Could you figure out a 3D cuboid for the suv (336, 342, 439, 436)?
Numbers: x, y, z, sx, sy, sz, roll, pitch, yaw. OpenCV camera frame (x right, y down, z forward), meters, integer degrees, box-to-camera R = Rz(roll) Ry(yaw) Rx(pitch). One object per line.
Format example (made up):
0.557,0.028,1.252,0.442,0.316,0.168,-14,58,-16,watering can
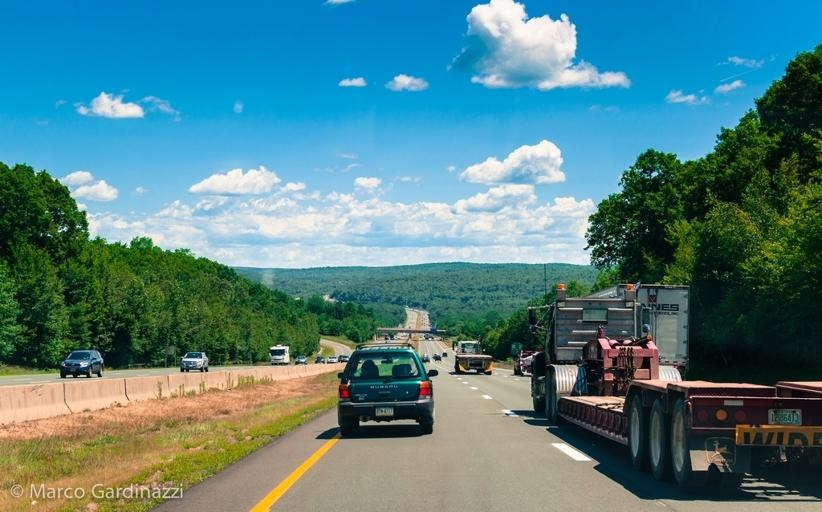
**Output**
-0.776,4.293,26.080,2.259,1.759,3.533,-1,0,2,suv

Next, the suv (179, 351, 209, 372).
-20.705,10.060,72.770,2.067,1.626,3.953,1,-6,-10,suv

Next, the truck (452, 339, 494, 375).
5.474,9.272,69.365,2.635,2.453,4.727,0,-12,-6,truck

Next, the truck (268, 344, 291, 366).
-19.439,14.557,111.986,2.805,2.990,5.054,-1,-10,-1,truck

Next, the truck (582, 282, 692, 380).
10.284,2.799,31.550,2.959,2.985,5.014,0,0,-2,truck
